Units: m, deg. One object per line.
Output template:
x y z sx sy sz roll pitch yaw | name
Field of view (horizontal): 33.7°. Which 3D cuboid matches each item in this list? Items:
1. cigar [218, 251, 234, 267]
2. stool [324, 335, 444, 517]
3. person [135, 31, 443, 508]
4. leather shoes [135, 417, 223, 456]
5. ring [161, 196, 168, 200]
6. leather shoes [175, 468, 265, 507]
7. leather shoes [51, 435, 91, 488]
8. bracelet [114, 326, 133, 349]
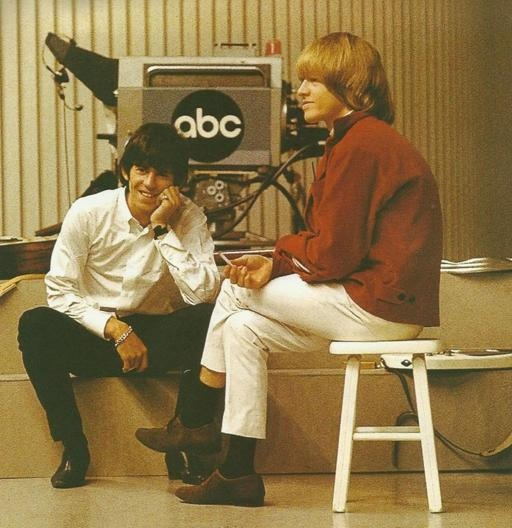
-0.102 -0.017 2.845 0.012 0.082 0.023 27 63 38 | cigar
0.473 0.475 2.497 0.519 0.462 0.474 -4 -11 15 | stool
0.125 0.017 2.469 0.780 1.377 0.370 0 10 -6 | person
-0.234 0.526 2.604 0.284 0.090 0.100 0 -4 22 | leather shoes
-0.312 -0.224 2.880 0.017 0.014 0.005 -1 -24 -11 | ring
-0.082 0.650 2.475 0.278 0.094 0.094 1 -6 14 | leather shoes
-0.597 0.640 2.723 0.121 0.166 0.064 -2 11 -15 | leather shoes
-0.425 0.233 2.715 0.069 0.016 0.050 -39 8 1 | bracelet
